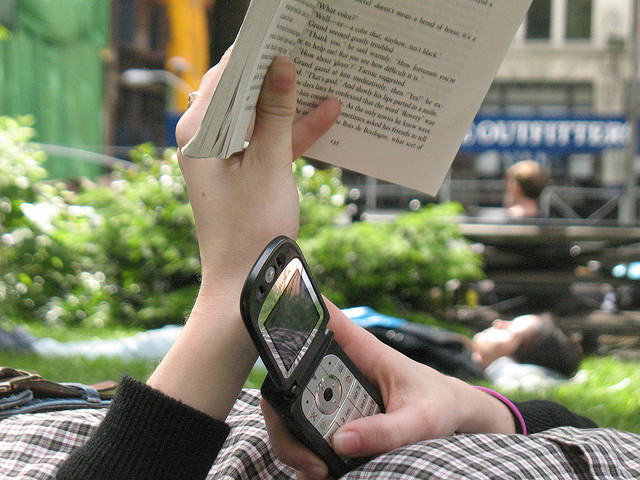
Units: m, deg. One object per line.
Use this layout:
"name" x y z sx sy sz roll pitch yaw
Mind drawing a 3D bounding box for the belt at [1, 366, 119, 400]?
"belt" -1.180 0.666 3.635 0.383 0.129 0.277 3 -5 -20

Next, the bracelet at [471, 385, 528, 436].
"bracelet" 0.750 0.711 3.363 0.238 0.198 0.164 5 6 12
